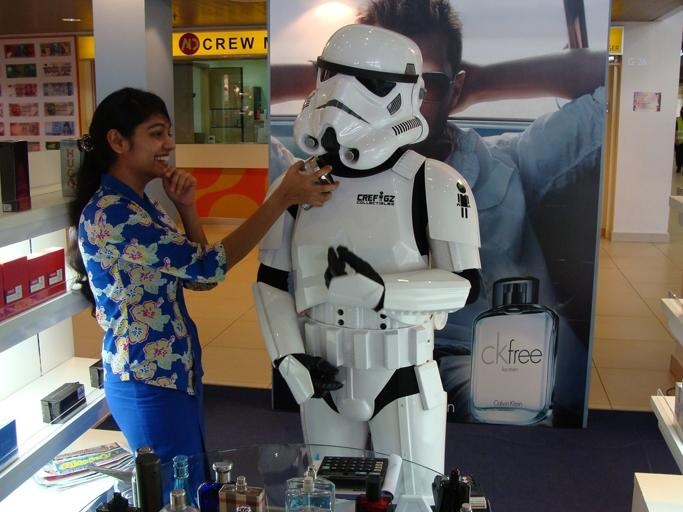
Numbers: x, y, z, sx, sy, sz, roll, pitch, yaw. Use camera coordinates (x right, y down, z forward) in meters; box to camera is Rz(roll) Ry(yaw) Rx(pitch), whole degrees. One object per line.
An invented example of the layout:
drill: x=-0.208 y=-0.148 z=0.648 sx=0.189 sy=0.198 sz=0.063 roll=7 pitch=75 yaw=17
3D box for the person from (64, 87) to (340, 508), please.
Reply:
person: x=-0.735 y=0.093 z=2.297 sx=1.100 sy=1.469 sz=0.641 roll=5 pitch=15 yaw=21

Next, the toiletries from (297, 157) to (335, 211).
toiletries: x=-0.100 y=-0.285 z=2.206 sx=0.111 sy=0.213 sz=0.102 roll=13 pitch=21 yaw=37

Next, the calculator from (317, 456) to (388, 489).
calculator: x=0.040 y=0.800 z=2.112 sx=0.239 sy=0.081 sz=0.225 roll=0 pitch=-4 yaw=6

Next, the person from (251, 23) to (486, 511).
person: x=0.124 y=0.190 z=2.415 sx=0.710 sy=2.111 sz=0.799 roll=6 pitch=16 yaw=17
